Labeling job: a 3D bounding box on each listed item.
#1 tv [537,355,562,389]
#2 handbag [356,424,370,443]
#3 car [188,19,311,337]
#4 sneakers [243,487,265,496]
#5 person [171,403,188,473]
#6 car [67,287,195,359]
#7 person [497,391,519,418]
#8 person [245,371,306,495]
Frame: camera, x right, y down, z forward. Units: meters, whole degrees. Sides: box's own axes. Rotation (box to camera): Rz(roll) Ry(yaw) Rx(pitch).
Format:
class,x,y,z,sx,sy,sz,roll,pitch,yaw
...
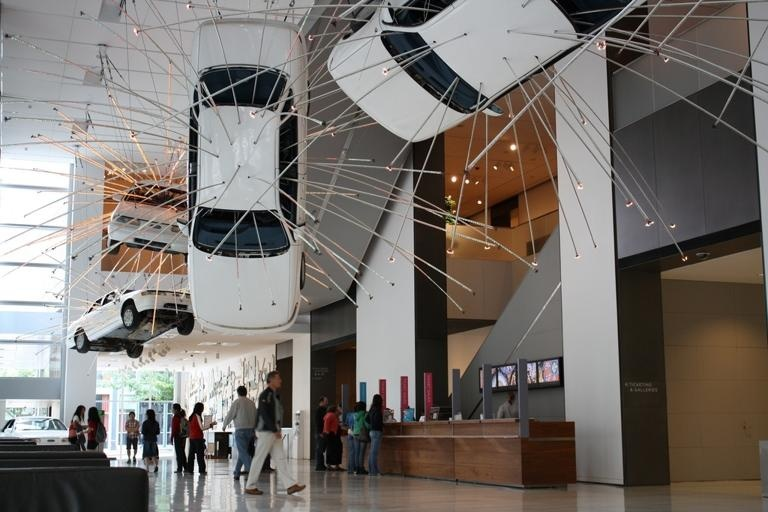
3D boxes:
class,x,y,z,sx,sy,sz,roll,pitch,yaw
tv,2.771,1.923,10.191,0.091,0.448,0.573,4,-14,-22
handbag,-0.372,3.148,10.927,0.255,0.208,0.150,-34,-36,-35
car,-0.768,-0.337,3.672,0.770,1.931,0.622,-1,11,1
sneakers,-1.606,2.901,7.585,0.214,0.082,0.240,2,-14,-13
person,-3.862,3.413,11.591,0.289,1.230,1.200,3,-14,-19
car,-4.630,1.194,11.339,1.508,1.035,3.903,8,-17,-35
person,2.086,2.495,10.317,0.294,0.400,0.703,-5,-14,15
person,-1.435,2.304,8.034,0.717,1.532,1.207,1,-13,-11
